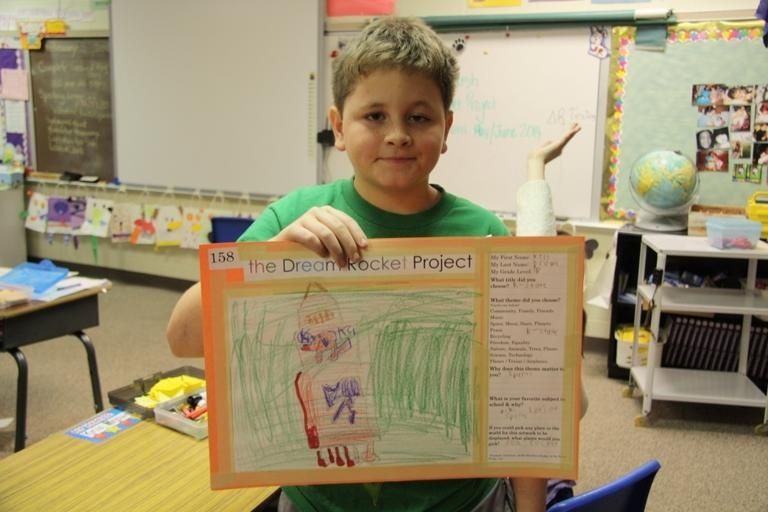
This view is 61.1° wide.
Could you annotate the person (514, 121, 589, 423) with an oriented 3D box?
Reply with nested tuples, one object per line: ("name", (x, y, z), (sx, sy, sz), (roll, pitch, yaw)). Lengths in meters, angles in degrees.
("person", (0.537, 0.086, 2.297), (0.225, 1.084, 0.203), (3, 19, 6))

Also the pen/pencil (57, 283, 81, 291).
("pen/pencil", (-1.618, 0.155, 3.376), (0.122, 0.018, 0.028), (-15, 29, -30))

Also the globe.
("globe", (1.760, -0.433, 4.145), (0.423, 0.535, 0.349), (6, 17, 15))
